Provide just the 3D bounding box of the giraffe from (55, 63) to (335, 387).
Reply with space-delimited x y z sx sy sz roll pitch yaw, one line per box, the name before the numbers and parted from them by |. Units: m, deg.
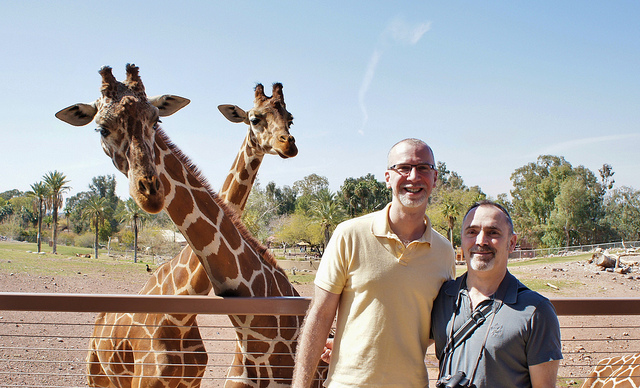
giraffe | -1.525 1.575 10.327 2.346 6.151 7.890 -11 -26 7
